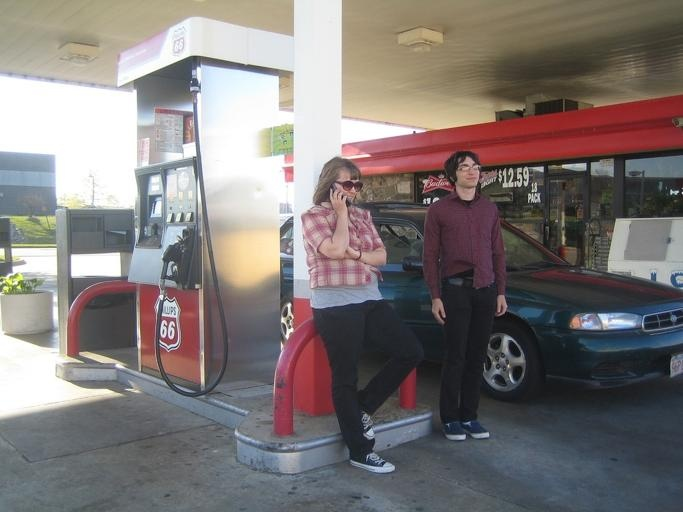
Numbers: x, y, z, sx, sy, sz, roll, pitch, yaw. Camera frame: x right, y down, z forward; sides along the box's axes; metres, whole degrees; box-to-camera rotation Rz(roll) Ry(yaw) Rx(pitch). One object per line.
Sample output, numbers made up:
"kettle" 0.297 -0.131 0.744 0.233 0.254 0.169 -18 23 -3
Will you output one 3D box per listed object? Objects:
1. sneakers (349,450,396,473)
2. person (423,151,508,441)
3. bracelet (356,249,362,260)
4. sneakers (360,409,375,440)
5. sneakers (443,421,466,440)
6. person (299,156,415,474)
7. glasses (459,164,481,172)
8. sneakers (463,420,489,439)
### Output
"sneakers" 0.224 1.464 3.755 0.351 0.132 0.134 -2 1 32
"person" 1.040 0.313 4.342 0.690 2.383 0.389 0 4 9
"bracelet" 0.130 -0.010 3.774 0.015 0.054 0.056 11 9 -9
"sneakers" 0.190 1.248 3.827 0.077 0.098 0.227 -5 10 -23
"sneakers" 0.940 1.448 4.292 0.089 0.086 0.208 0 -6 -19
"person" 0.124 0.400 3.833 0.819 2.299 0.529 -1 4 -5
"glasses" 1.080 -0.731 4.276 0.216 0.060 0.072 -2 4 -25
"sneakers" 1.129 1.448 4.346 0.107 0.098 0.215 -1 -2 -32
